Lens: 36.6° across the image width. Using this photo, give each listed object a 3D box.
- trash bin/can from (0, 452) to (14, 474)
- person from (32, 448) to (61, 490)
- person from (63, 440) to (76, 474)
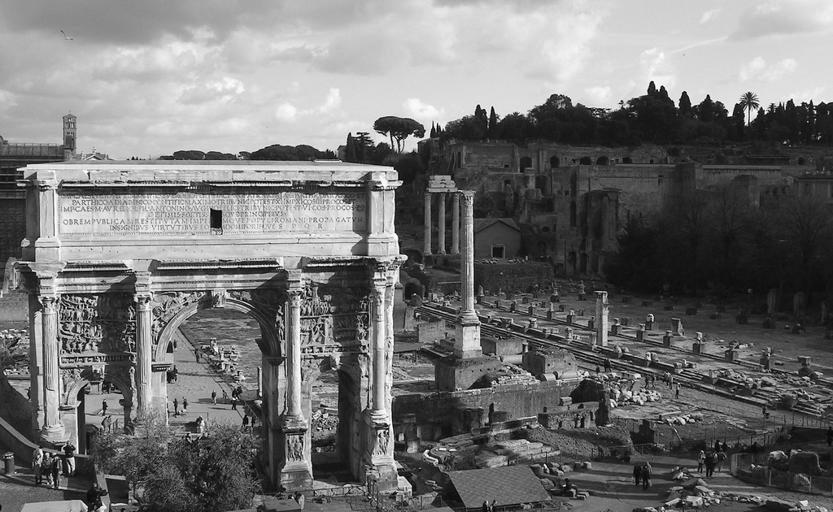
[{"bbox_3d":[-20.889,10.626,64.444,0.601,0.990,0.932,-2,1,-17],"label":"trash bin/can"},{"bbox_3d":[-18.768,10.772,63.954,1.292,1.761,0.870,-2,1,-3],"label":"person"},{"bbox_3d":[-17.856,10.439,64.871,0.560,1.428,0.750,-2,1,1],"label":"person"}]
